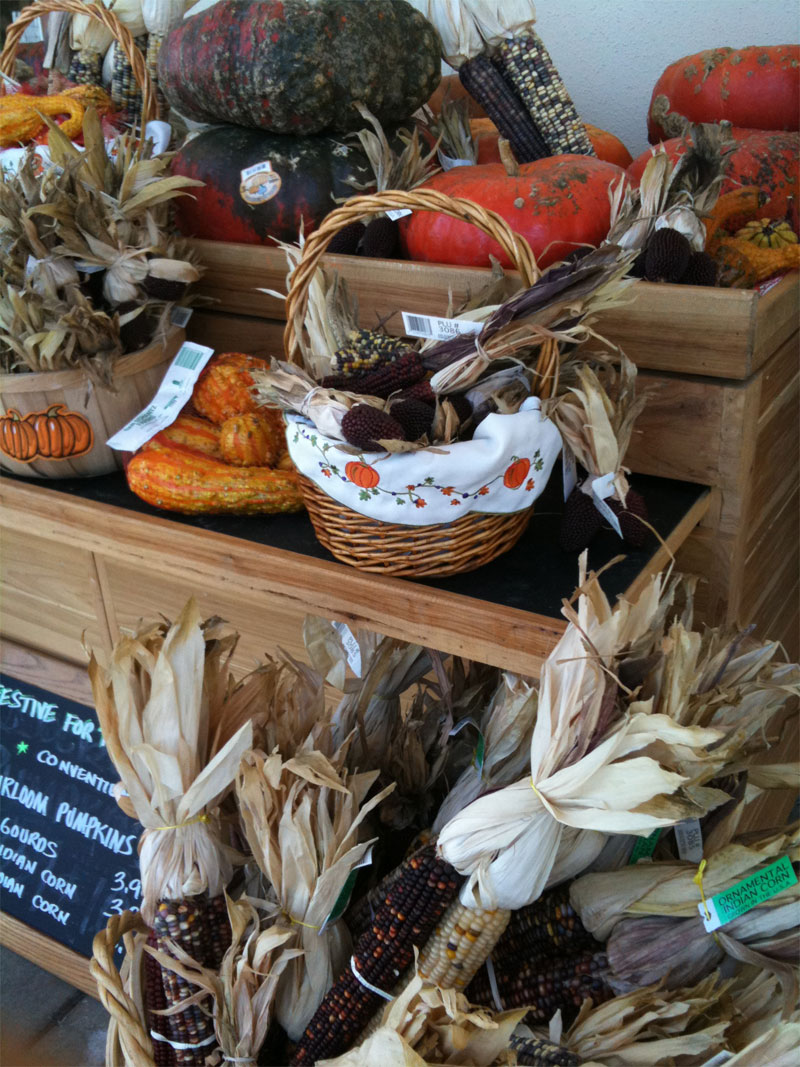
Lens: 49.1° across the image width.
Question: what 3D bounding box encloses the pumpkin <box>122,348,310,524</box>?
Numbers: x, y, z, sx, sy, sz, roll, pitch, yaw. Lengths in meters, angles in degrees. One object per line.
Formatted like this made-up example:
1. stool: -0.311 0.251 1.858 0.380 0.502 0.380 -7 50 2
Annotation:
1. pumpkin: -0.210 -0.091 1.074 0.230 0.102 0.176 38 80 20

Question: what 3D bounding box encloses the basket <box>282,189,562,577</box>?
1. basket: 0.014 -0.173 0.886 0.294 0.338 0.250 -2 21 8
